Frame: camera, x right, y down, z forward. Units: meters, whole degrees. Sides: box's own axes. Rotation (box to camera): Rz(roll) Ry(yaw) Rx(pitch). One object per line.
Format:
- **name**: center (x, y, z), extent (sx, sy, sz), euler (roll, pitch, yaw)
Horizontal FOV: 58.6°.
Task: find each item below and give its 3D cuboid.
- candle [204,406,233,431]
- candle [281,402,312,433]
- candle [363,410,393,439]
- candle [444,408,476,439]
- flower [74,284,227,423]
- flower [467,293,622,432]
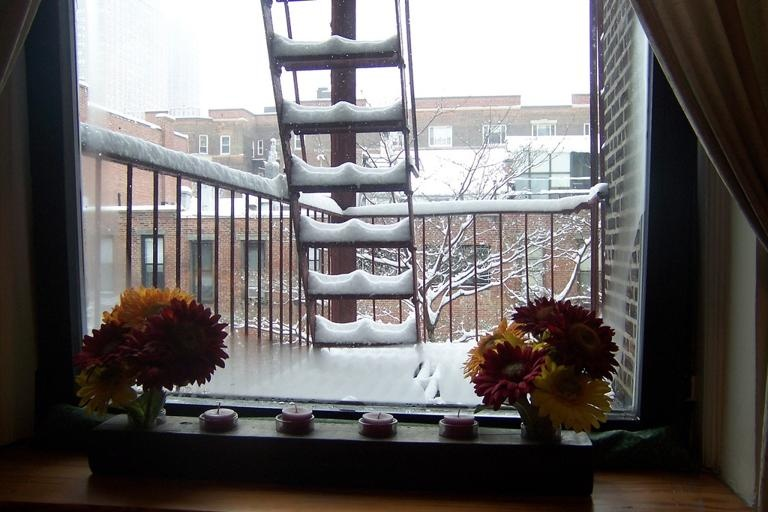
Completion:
- **candle**: center (-0.568, 0.551, 2.332), extent (0.077, 0.047, 0.076), euler (1, -1, -9)
- **candle**: center (-0.303, 0.565, 2.346), extent (0.118, 0.079, 0.099), euler (-2, -5, 1)
- **candle**: center (-0.023, 0.573, 2.309), extent (0.095, 0.073, 0.104), euler (3, -7, -43)
- **candle**: center (0.252, 0.567, 2.313), extent (0.089, 0.063, 0.089), euler (0, 2, 3)
- **flower**: center (-0.781, 0.342, 2.292), extent (0.459, 0.478, 0.265), euler (1, -5, -24)
- **flower**: center (0.511, 0.345, 2.252), extent (0.461, 0.419, 0.244), euler (-1, -5, -6)
